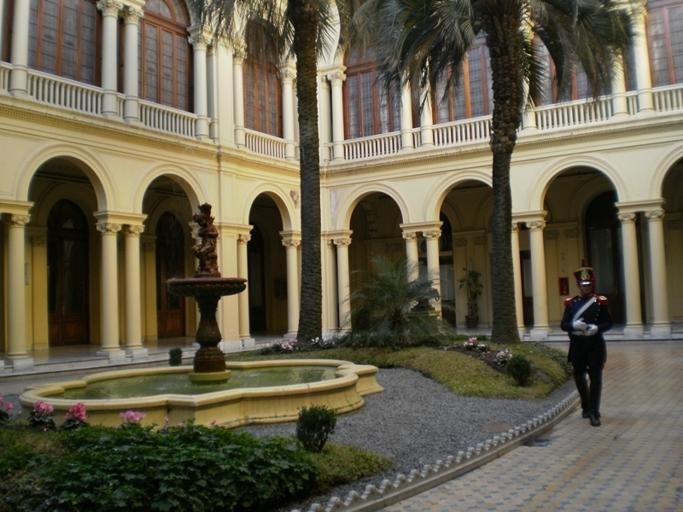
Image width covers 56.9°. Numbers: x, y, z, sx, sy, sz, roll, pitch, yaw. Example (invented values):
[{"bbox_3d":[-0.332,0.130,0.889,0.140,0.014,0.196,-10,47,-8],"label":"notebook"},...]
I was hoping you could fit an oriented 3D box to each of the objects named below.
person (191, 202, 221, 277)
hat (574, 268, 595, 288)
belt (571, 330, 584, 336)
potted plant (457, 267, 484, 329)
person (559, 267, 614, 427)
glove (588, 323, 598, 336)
[{"bbox_3d":[-2.454,-0.314,11.471,0.449,1.452,1.216,-1,-4,-13],"label":"person"},{"bbox_3d":[3.910,0.357,10.074,0.298,0.299,0.376,-1,-8,12],"label":"hat"},{"bbox_3d":[3.667,1.202,9.771,0.207,0.090,0.124,-6,-6,42],"label":"belt"},{"bbox_3d":[5.535,1.742,26.570,0.954,2.556,0.774,-3,-4,11],"label":"potted plant"},{"bbox_3d":[3.855,1.374,9.855,0.726,2.379,0.872,-4,-4,22],"label":"person"},{"bbox_3d":[3.846,1.125,9.622,0.134,0.158,0.178,1,19,28],"label":"glove"}]
